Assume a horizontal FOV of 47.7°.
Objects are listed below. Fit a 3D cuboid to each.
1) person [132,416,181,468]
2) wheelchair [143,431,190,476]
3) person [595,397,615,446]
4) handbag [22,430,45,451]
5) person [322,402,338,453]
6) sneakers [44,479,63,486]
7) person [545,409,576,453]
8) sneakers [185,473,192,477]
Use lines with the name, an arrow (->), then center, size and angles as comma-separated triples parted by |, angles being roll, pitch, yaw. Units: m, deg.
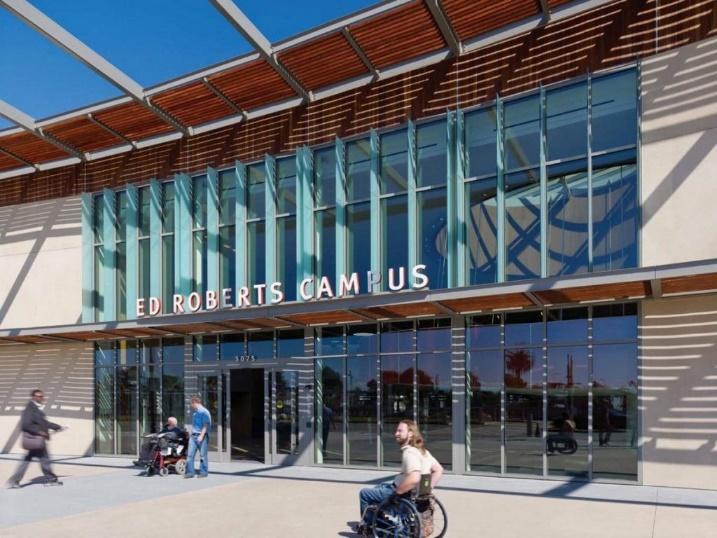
person -> -5.741, 4.871, 22.854 | 0.659, 1.337, 1.208 | 11, 4, 42
wheelchair -> -5.434, 5.145, 22.855 | 1.013, 1.243, 0.987 | 2, -4, -36
person -> 6.303, 3.884, 20.769 | 0.452, 1.171, 0.219 | -3, -14, 15
handbag -> -8.510, 4.436, 21.018 | 0.495, 0.454, 0.482 | 6, -1, -31
person -> -0.946, 4.754, 24.116 | 0.447, 1.532, 0.135 | -11, -18, 40
sneakers -> -8.178, 5.652, 21.455 | 0.340, 0.109, 0.212 | 2, -6, -5
person -> 5.298, 4.221, 21.167 | 0.696, 0.700, 1.168 | -3, -12, 11
sneakers -> -4.712, 5.616, 22.143 | 0.226, 0.094, 0.285 | 4, -15, -12
